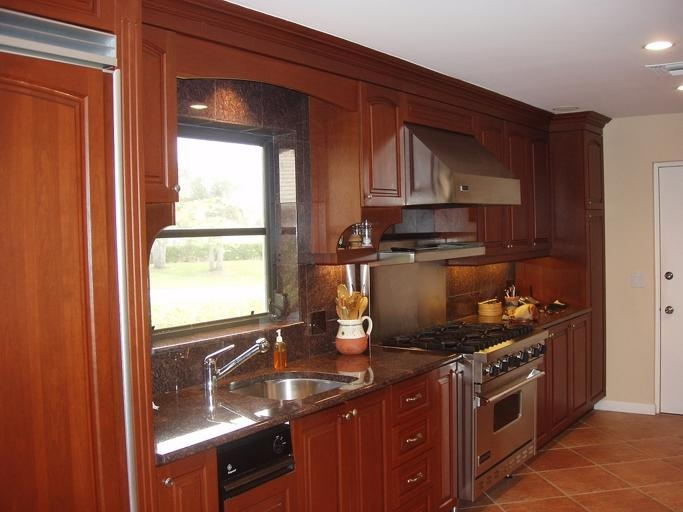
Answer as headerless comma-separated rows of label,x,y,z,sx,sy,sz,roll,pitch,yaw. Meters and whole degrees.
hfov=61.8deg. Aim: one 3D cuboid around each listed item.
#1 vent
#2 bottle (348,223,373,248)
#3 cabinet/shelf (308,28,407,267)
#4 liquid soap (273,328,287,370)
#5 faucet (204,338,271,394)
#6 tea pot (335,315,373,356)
vent,0.919,-0.643,4.127,0.396,0.532,1.081,4,6,40
bottle,0.131,-0.130,3.646,0.161,0.162,0.152,0,0,-14
cabinet/shelf,0.040,-0.607,3.556,0.405,1.289,0.861,2,6,44
liquid soap,-0.370,0.549,3.413,0.084,0.222,0.176,-3,4,-6
faucet,-0.546,0.538,2.939,0.078,0.207,0.403,10,16,41
tea pot,0.082,0.521,3.753,0.267,0.245,0.206,-3,3,-8
